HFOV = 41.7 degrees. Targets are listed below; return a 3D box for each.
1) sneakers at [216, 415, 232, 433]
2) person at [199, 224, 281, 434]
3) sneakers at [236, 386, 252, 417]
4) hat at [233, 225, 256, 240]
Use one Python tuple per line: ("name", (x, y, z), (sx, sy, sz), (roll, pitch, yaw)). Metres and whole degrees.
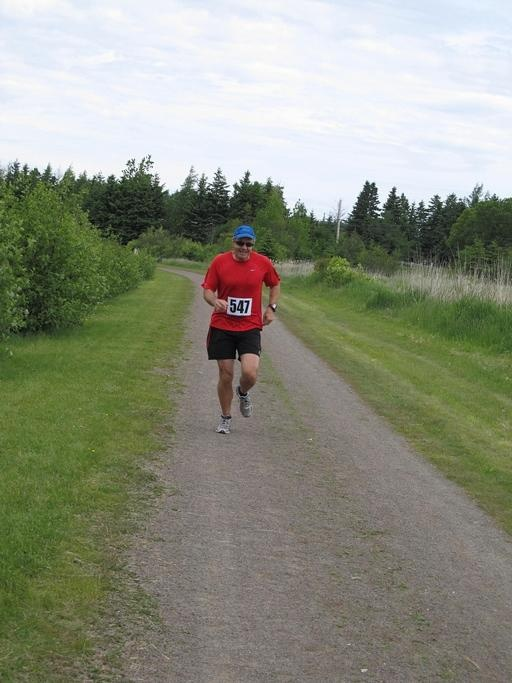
("sneakers", (-0.334, 0.889, 7.189), (0.098, 0.108, 0.247), (2, 2, 3))
("person", (-0.177, -0.066, 6.798), (0.564, 2.153, 0.902), (12, 9, 35))
("sneakers", (-0.117, 0.683, 7.381), (0.153, 0.387, 0.160), (-15, 17, -23))
("hat", (-0.114, -1.064, 6.452), (0.169, 0.115, 0.232), (1, 1, -6))
